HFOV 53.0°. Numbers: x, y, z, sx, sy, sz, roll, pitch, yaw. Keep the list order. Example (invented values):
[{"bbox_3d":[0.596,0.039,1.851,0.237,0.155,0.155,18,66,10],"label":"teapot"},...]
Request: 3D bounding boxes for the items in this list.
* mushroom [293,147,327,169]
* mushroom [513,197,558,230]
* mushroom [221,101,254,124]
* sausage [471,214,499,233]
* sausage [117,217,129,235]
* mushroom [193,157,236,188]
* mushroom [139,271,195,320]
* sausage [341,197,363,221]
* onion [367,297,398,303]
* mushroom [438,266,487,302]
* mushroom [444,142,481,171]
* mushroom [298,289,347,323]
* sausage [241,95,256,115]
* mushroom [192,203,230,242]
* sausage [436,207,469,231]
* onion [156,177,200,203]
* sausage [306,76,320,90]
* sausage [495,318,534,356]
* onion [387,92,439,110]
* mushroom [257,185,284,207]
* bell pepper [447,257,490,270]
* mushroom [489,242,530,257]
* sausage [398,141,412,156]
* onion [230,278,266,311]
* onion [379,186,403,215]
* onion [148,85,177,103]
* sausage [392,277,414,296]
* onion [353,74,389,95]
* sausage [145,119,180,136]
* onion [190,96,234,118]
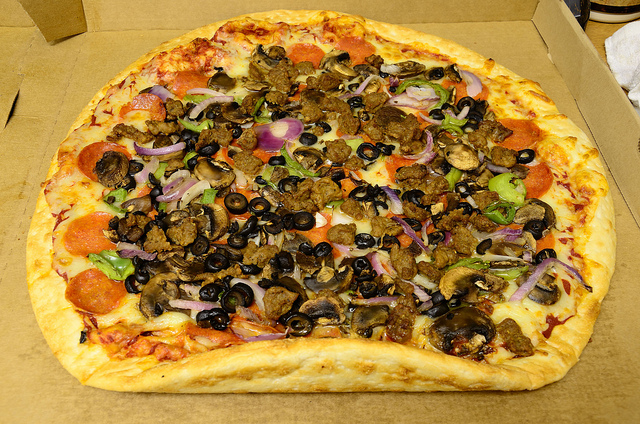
[{"bbox_3d":[-0.089,-0.532,6.133,0.286,0.078,0.187,0,62,6],"label":"mushroom"},{"bbox_3d":[1.983,0.007,5.888,0.293,0.084,0.293,-41,86,-5],"label":"mushroom"},{"bbox_3d":[-0.843,-0.980,6.376,0.221,0.078,0.273,-30,53,-27],"label":"mushroom"},{"bbox_3d":[1.501,0.109,5.824,0.258,0.127,0.126,13,60,10],"label":"sausage"},{"bbox_3d":[-1.763,0.132,5.760,0.094,0.038,0.132,5,81,-1],"label":"sausage"},{"bbox_3d":[-0.982,-0.368,6.016,0.346,0.112,0.267,42,67,6],"label":"mushroom"},{"bbox_3d":[-1.394,0.725,5.544,0.370,0.113,0.421,24,74,-10],"label":"mushroom"},{"bbox_3d":[0.315,-0.029,5.868,0.219,0.116,0.140,30,64,20],"label":"sausage"},{"bbox_3d":[0.540,0.746,5.522,0.257,0.019,0.052,-6,57,-2],"label":"onion"},{"bbox_3d":[1.245,0.630,5.569,0.425,0.144,0.283,-3,57,0],"label":"mushroom"},{"bbox_3d":[1.346,-0.527,6.050,0.310,0.099,0.236,39,80,17],"label":"mushroom"},{"bbox_3d":[0.029,0.794,5.461,0.415,0.143,0.275,1,57,3],"label":"mushroom"},{"bbox_3d":[-0.692,-1.075,6.356,0.164,0.037,0.160,-3,94,-23],"label":"sausage"},{"bbox_3d":[-0.951,0.095,5.829,0.313,0.102,0.314,-3,73,-3],"label":"mushroom"},{"bbox_3d":[1.185,0.080,5.779,0.267,0.077,0.173,-20,101,-5],"label":"sausage"},{"bbox_3d":[-1.314,-0.195,5.961,0.275,0.076,0.232,-40,31,-4],"label":"onion"},{"bbox_3d":[-0.075,-1.316,6.510,0.127,0.035,0.107,-1,89,16],"label":"sausage"},{"bbox_3d":[1.674,1.087,5.493,0.185,0.118,0.357,-29,61,-15],"label":"sausage"},{"bbox_3d":[0.926,-1.125,6.505,0.373,0.060,0.189,6,71,2],"label":"onion"},{"bbox_3d":[-0.446,-0.160,5.933,0.229,0.052,0.146,37,65,13],"label":"mushroom"},{"bbox_3d":[1.329,0.457,5.674,0.281,0.143,0.057,-7,96,8],"label":"bell pepper"},{"bbox_3d":[1.670,0.328,5.746,0.217,0.044,0.142,9,41,1],"label":"mushroom"},{"bbox_3d":[0.821,-0.613,6.156,0.143,0.039,0.120,-1,90,10],"label":"sausage"},{"bbox_3d":[-0.609,0.688,5.486,0.299,0.081,0.226,44,111,4],"label":"onion"},{"bbox_3d":[0.689,-0.108,5.989,0.143,0.078,0.250,-20,75,-5],"label":"onion"},{"bbox_3d":[-1.619,-1.230,6.560,0.240,0.072,0.204,19,38,-21],"label":"onion"},{"bbox_3d":[0.729,0.632,5.531,0.189,0.047,0.099,39,66,24],"label":"sausage"},{"bbox_3d":[0.507,-1.320,6.632,0.300,0.048,0.177,-43,93,-19],"label":"onion"},{"bbox_3d":[-1.535,-0.837,6.224,0.266,0.054,0.145,8,73,-8],"label":"sausage"},{"bbox_3d":[-1.103,-1.089,6.455,0.341,0.082,0.236,-30,57,-21],"label":"onion"}]
